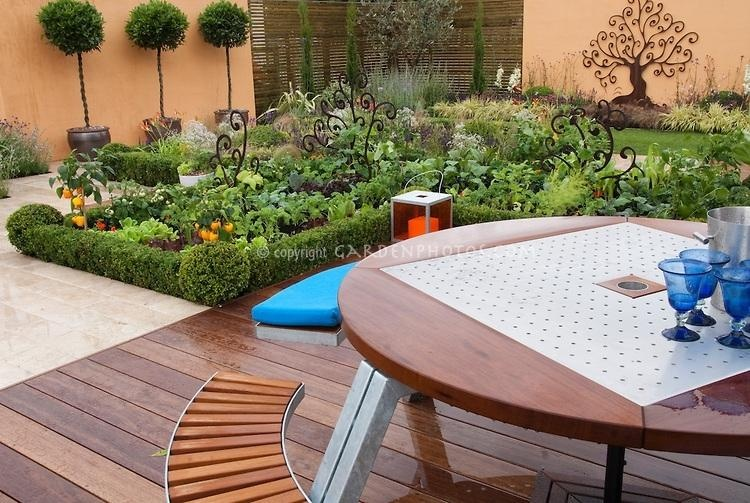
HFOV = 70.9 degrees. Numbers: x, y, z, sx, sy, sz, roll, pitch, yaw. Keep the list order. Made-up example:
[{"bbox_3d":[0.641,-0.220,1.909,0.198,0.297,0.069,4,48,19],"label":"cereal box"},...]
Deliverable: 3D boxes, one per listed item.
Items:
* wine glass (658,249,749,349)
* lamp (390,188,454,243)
[{"bbox_3d":[1.048,0.133,1.683,0.253,0.245,0.283,0,17,8],"label":"wine glass"},{"bbox_3d":[0.523,-0.390,5.185,0.531,0.532,0.543,4,10,31],"label":"lamp"}]
